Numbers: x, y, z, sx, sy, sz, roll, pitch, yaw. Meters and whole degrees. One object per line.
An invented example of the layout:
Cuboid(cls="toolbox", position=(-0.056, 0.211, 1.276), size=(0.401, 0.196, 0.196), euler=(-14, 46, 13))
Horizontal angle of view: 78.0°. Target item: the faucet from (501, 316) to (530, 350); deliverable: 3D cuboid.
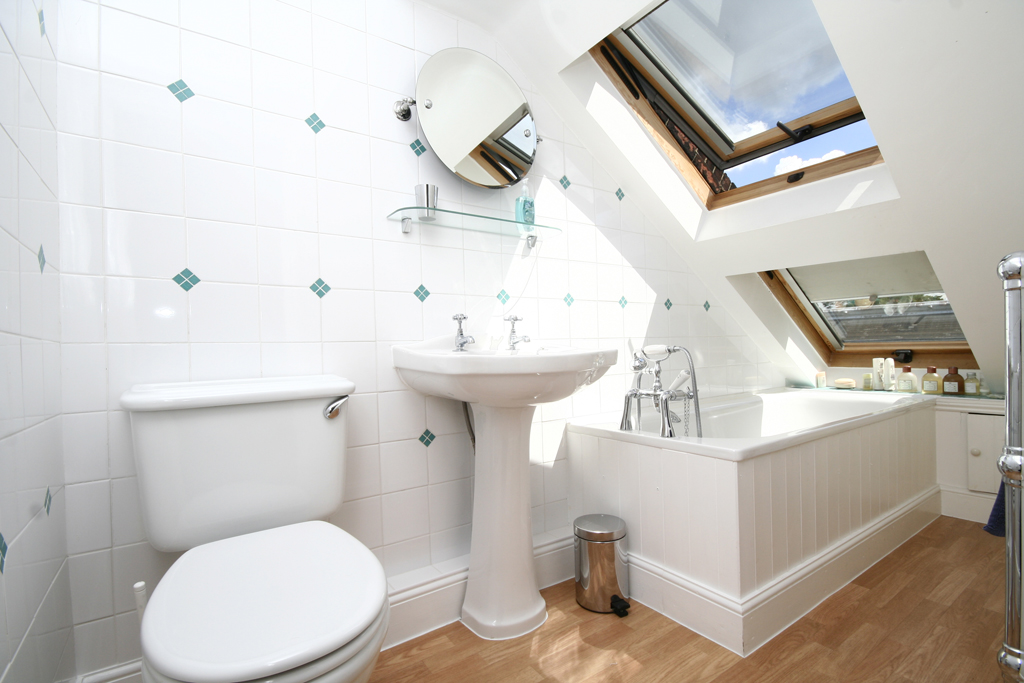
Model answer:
Cuboid(cls="faucet", position=(0.001, -0.043, 2.898), size=(0.107, 0.165, 0.156), euler=(2, -4, -38))

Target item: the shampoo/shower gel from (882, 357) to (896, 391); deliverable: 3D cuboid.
Cuboid(cls="shampoo/shower gel", position=(2.308, 0.192, 3.846), size=(0.090, 0.189, 0.058), euler=(-5, 2, -18))

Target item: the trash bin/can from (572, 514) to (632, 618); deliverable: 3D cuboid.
Cuboid(cls="trash bin/can", position=(0.391, 0.953, 2.747), size=(0.236, 0.348, 0.349), euler=(-1, 0, -22))
